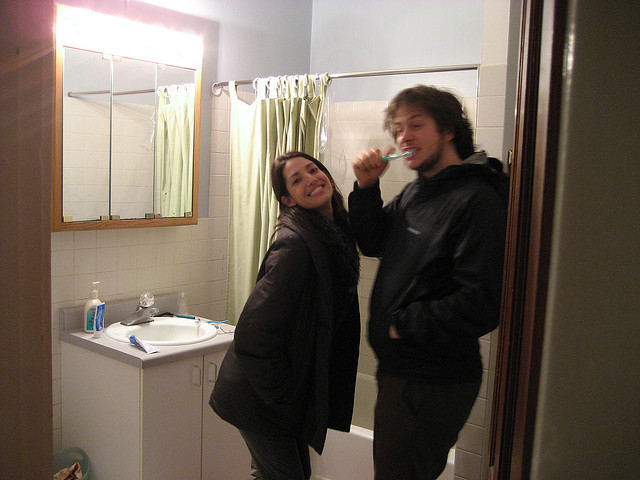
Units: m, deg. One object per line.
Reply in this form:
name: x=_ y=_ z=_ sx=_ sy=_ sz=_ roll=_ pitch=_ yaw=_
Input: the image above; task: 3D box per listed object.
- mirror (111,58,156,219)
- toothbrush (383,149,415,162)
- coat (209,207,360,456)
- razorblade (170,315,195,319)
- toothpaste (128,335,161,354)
mirror: x=-0.788 y=-0.426 z=2.079 sx=0.203 sy=0.659 sz=0.040 roll=-4 pitch=5 yaw=-42
toothbrush: x=0.145 y=-0.153 z=0.905 sx=0.063 sy=0.017 sz=0.017 roll=-3 pitch=27 yaw=39
coat: x=-0.079 y=0.175 z=1.108 sx=0.321 sy=0.479 sz=0.352 roll=13 pitch=16 yaw=10
razorblade: x=-0.609 y=0.340 z=2.177 sx=0.121 sy=0.011 sz=0.025 roll=1 pitch=4 yaw=18
toothpaste: x=-0.666 y=0.375 z=1.847 sx=0.132 sy=0.029 sz=0.052 roll=19 pitch=17 yaw=39
